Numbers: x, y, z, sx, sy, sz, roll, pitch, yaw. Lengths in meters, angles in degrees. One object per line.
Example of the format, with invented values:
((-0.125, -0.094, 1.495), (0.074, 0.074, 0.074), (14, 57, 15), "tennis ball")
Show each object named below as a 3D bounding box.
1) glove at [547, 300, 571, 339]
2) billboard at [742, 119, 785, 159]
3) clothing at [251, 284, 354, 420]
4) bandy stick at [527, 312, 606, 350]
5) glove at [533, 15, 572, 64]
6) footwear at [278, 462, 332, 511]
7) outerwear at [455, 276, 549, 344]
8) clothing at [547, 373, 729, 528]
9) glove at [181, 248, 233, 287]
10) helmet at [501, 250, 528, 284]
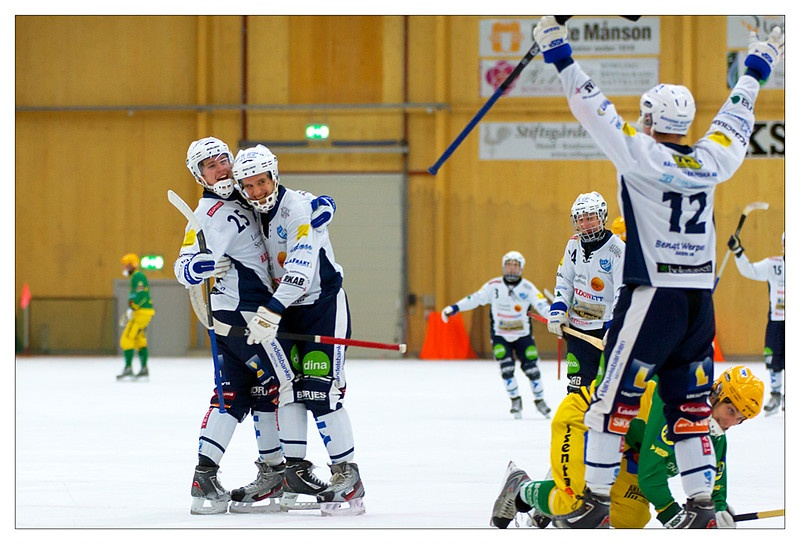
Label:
((2.279, 0.689, 20.327), (0.176, 0.432, 0.436), (29, -49, -28), "glove")
((8.034, -2.949, 31.310), (1.145, 0.966, 0.124), (-1, 8, -21), "billboard")
((-1.192, 1.121, 19.333), (0.886, 1.824, 0.633), (9, 9, 25), "clothing")
((2.391, 0.804, 20.300), (0.185, 0.264, 1.960), (-27, 19, -10), "bandy stick")
((2.009, -3.037, 18.553), (0.448, 0.559, 0.592), (-18, 10, 2), "glove")
((-1.264, 2.924, 19.275), (0.941, 0.644, 0.293), (9, -3, -33), "footwear")
((1.972, 0.801, 26.758), (1.524, 0.880, 0.401), (-1, -2, 8), "outerwear")
((2.900, 2.541, 19.195), (1.656, 2.332, 0.789), (4, 15, 6), "clothing")
((-2.655, -0.031, 19.032), (0.555, 0.422, 0.214), (1, 36, -18), "glove")
((1.977, -0.020, 24.654), (0.465, 0.580, 0.605), (0, -8, 5), "helmet")
